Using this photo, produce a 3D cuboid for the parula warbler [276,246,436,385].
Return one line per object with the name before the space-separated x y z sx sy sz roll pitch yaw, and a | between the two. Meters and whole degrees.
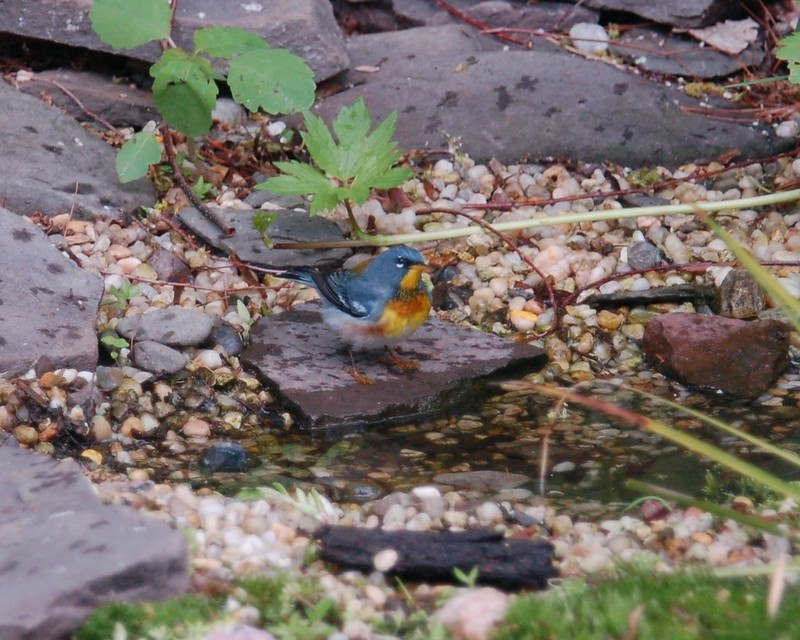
parula warbler | -0.189 -0.090 5.339 0.565 0.757 0.659 -14 31 -23
